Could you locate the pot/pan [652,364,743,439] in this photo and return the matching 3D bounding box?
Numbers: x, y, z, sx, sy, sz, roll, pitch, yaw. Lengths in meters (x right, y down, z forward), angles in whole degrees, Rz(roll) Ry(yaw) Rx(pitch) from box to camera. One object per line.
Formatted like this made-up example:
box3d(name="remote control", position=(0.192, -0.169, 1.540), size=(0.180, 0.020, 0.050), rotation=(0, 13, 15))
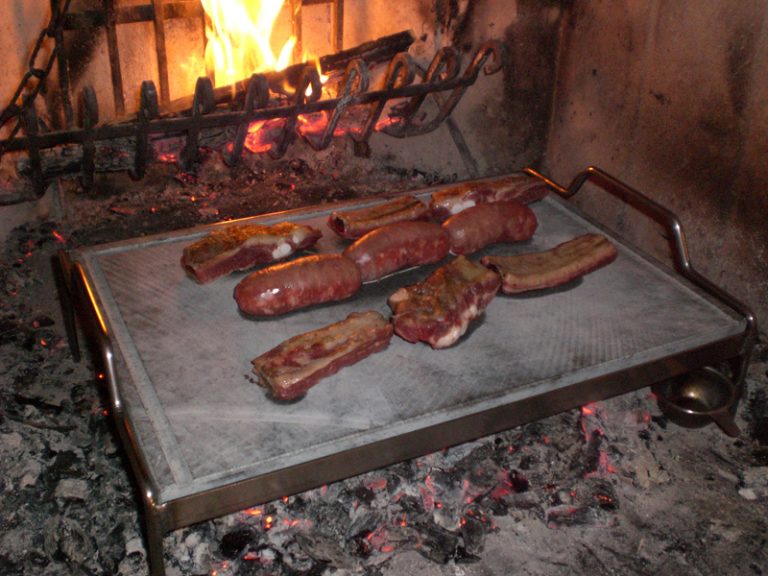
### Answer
box3d(name="pot/pan", position=(1.486, 0.537, 3.019), size=(0.204, 0.243, 0.397), rotation=(-28, 51, -31))
